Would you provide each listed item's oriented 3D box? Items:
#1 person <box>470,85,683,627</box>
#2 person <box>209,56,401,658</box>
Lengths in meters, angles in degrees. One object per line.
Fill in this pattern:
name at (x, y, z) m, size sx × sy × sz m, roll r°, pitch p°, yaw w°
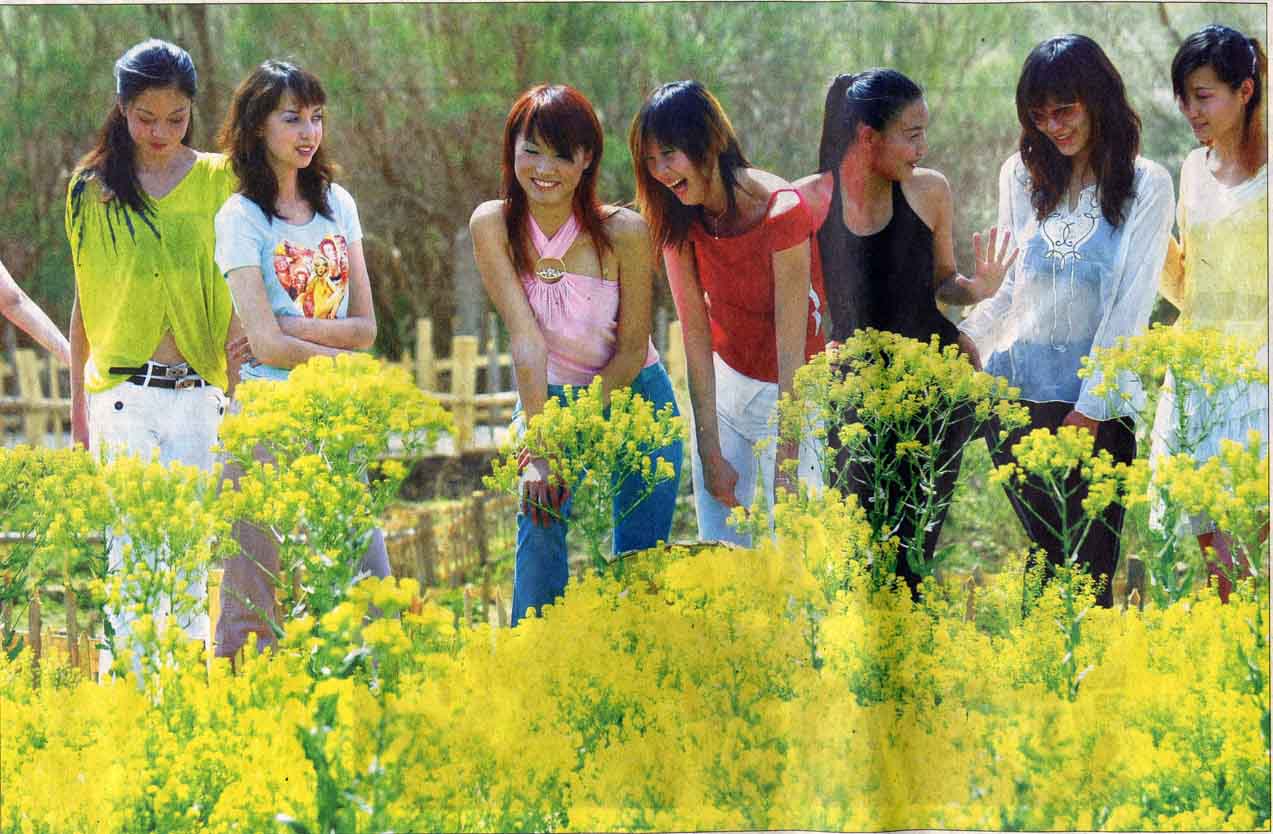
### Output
person at (-0.195, -0.191, 4.964) m, size 0.664 × 1.693 × 0.398 m, roll -1°, pitch -7°, yaw 1°
person at (-1.072, -0.186, 4.889) m, size 0.540 × 1.864 × 0.315 m, roll 1°, pitch -7°, yaw -12°
